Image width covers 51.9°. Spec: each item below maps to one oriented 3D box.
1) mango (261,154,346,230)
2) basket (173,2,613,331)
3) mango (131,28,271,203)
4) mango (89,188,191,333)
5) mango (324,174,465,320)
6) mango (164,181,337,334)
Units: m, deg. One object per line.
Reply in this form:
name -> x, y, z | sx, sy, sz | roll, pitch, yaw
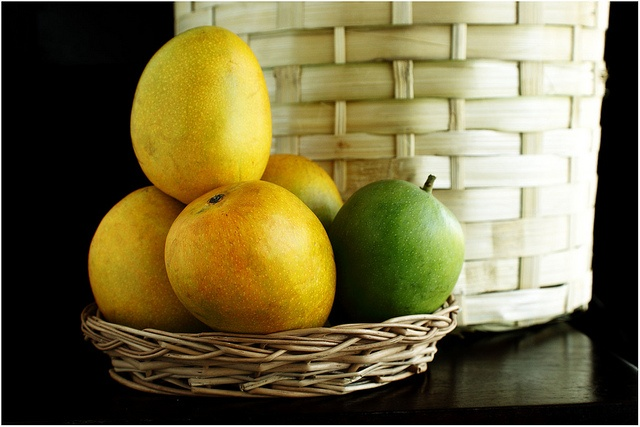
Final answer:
mango -> -0.021, -0.042, 1.018 | 0.122, 0.128, 0.107 | -14, -11, -9
basket -> 0.109, -0.062, 1.211 | 0.601, 0.465, 0.553 | 0, 0, -17
mango -> -0.166, -0.148, 0.927 | 0.194, 0.215, 0.207 | -6, 17, -19
mango -> -0.247, 0.049, 0.924 | 0.136, 0.172, 0.148 | -11, 18, -36
mango -> 0.121, 0.033, 0.976 | 0.218, 0.184, 0.171 | 4, 14, 14
mango -> -0.082, 0.058, 0.929 | 0.226, 0.180, 0.227 | -4, 9, -5
